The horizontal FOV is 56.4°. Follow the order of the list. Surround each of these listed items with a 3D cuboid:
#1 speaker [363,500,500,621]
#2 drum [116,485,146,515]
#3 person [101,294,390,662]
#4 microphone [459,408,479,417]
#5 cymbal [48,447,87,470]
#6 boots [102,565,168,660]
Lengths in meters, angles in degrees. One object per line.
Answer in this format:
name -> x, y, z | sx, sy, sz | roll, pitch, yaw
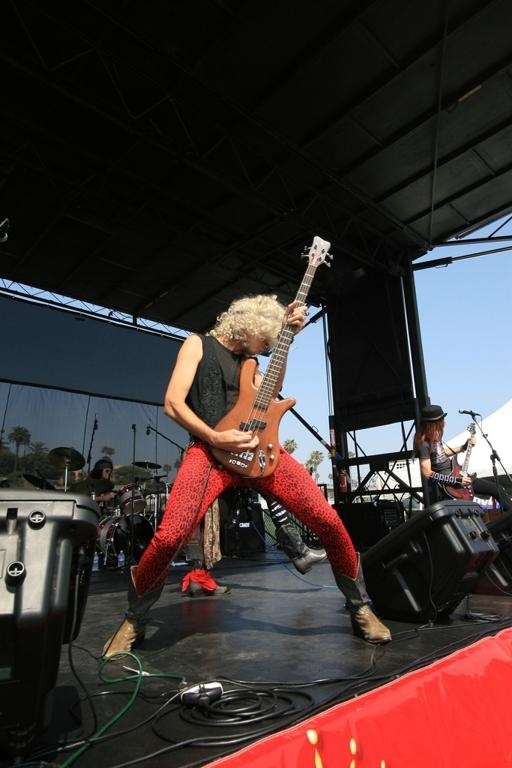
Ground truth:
speaker -> 0.901, 0.832, 2.475 | 0.586, 0.684, 0.519 | 1, -10, -19
drum -> -1.756, 1.615, 6.821 | 0.364, 0.329, 0.352 | 18, -64, -38
person -> -0.045, 0.291, 2.056 | 1.024, 1.484, 0.462 | 6, -14, -26
microphone -> 2.042, 0.288, 4.619 | 0.201, 0.088, 0.053 | 13, -11, -16
cymbal -> -2.624, 1.034, 6.711 | 0.453, 0.262, 0.567 | 5, -13, -24
boots -> -0.481, 0.860, 1.888 | 0.203, 0.337, 0.285 | 3, -13, -16
